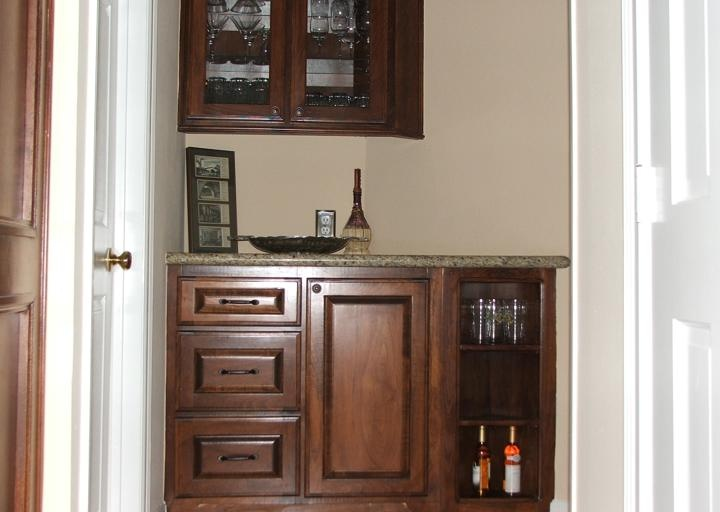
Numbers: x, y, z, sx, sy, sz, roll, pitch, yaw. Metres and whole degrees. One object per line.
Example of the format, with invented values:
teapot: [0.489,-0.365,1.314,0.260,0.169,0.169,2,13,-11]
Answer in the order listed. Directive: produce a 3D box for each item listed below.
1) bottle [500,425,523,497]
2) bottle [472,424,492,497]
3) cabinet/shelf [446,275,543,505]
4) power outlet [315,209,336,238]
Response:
bottle: [0.576,0.768,3.175,0.069,0.250,0.131,0,-3,11]
bottle: [0.459,0.767,3.187,0.065,0.250,0.158,0,-3,8]
cabinet/shelf: [0.520,0.493,3.179,0.293,0.844,0.199,0,4,8]
power outlet: [-0.151,-0.138,3.649,0.119,0.174,0.018,0,-1,-3]
